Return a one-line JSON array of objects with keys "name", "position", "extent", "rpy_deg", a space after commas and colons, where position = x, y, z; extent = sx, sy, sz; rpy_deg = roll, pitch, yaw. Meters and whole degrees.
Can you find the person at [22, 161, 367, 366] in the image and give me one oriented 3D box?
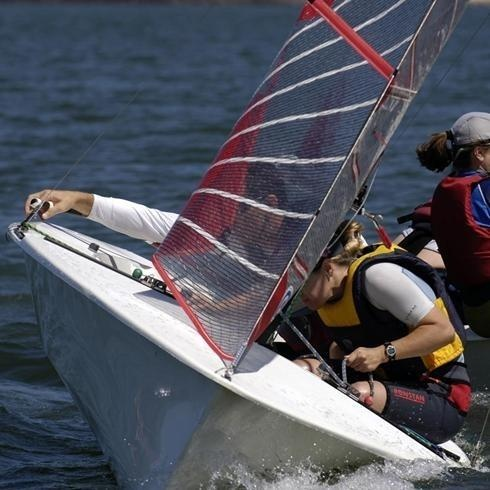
[{"name": "person", "position": [-0.177, 0.098, 3.618], "extent": [1.398, 0.325, 0.885], "rpy_deg": [10, 68, 16]}]
